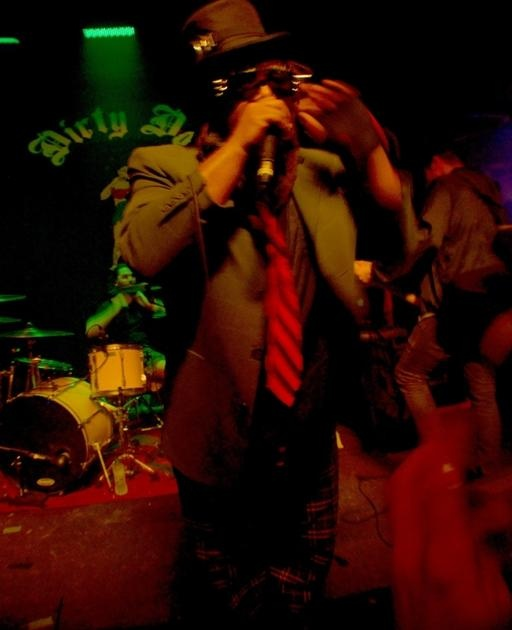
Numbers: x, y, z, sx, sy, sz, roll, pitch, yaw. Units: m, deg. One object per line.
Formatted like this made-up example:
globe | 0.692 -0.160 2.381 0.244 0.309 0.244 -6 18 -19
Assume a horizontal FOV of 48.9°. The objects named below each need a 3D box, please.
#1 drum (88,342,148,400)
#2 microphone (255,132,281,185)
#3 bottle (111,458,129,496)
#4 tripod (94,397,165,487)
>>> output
drum | -0.871 0.358 3.545 0.381 0.337 0.370 -4 -9 3
microphone | 0.031 -0.447 1.604 0.063 0.140 0.112 0 24 3
bottle | -0.745 0.894 3.070 0.072 0.208 0.077 -6 7 1
tripod | -0.794 0.785 3.558 0.492 0.431 0.559 -10 8 0
